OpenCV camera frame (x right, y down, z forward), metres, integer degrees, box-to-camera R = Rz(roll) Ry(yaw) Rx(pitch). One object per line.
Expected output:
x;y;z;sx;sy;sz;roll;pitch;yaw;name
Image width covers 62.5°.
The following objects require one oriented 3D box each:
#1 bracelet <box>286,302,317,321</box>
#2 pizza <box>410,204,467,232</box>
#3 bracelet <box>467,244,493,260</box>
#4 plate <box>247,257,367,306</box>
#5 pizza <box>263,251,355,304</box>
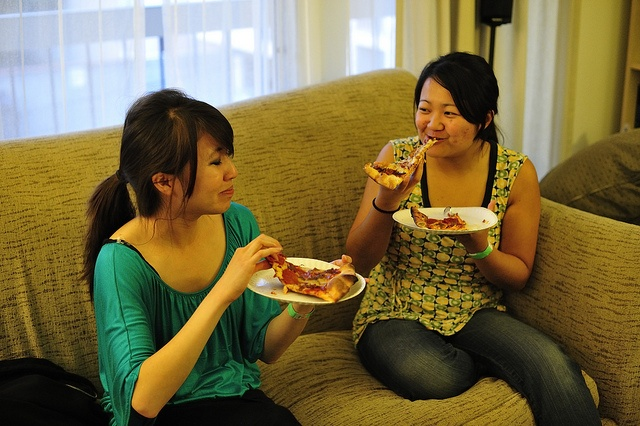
-0.066;0.313;1.714;0.063;0.061;0.025;31;39;8;bracelet
0.411;0.034;1.838;0.139;0.046;0.098;17;33;7;pizza
0.584;0.142;1.909;0.078;0.066;0.052;2;9;17;bracelet
-0.033;0.199;1.552;0.315;0.114;0.293;6;10;37;plate
-0.024;0.201;1.557;0.174;0.058;0.165;1;16;9;pizza
